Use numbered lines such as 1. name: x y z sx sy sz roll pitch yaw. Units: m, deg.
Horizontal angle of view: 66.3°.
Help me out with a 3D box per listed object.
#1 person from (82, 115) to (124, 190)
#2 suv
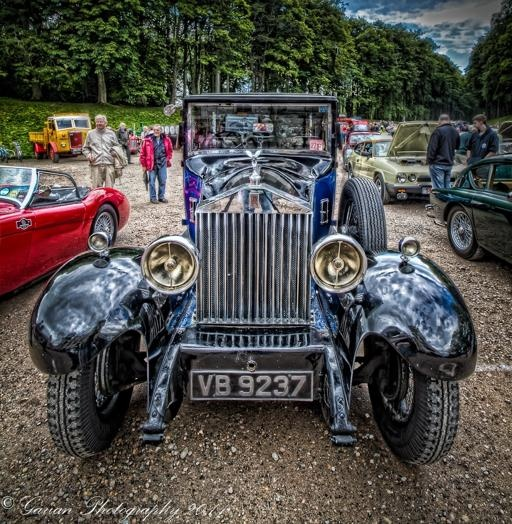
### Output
1. person: -2.962 -2.010 7.667 0.775 1.640 0.489 -4 37 -24
2. suv: -0.068 -0.238 3.575 2.080 1.684 3.419 0 4 -1
